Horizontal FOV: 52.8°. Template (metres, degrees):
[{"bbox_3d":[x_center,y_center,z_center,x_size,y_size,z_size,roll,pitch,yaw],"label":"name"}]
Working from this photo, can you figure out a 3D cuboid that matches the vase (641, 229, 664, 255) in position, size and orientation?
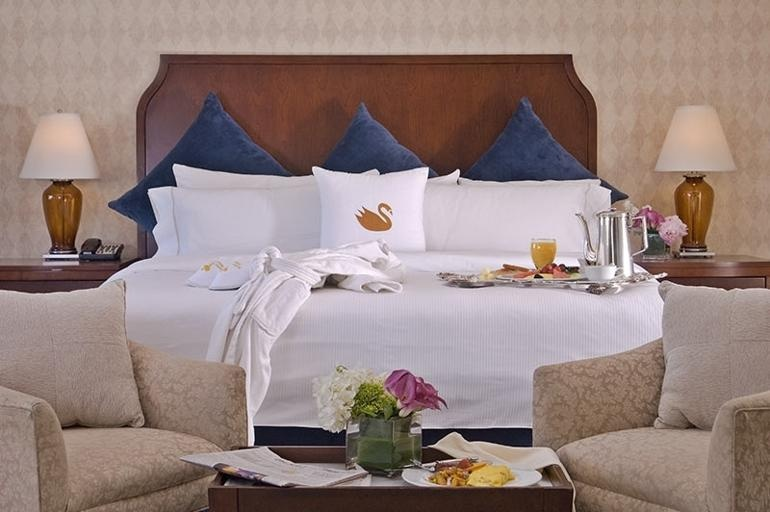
[{"bbox_3d":[1.804,-0.100,5.178,0.154,0.180,0.156,-4,7,-23],"label":"vase"}]

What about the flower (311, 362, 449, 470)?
[{"bbox_3d":[-0.044,0.489,2.529,0.327,0.277,0.344,0,2,24],"label":"flower"}]

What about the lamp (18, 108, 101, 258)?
[{"bbox_3d":[-2.184,-0.477,5.221,0.496,0.997,0.277,-1,-1,-27],"label":"lamp"}]

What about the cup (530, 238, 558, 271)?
[{"bbox_3d":[0.817,-0.006,4.010,0.143,0.181,0.153,0,3,0],"label":"cup"}]

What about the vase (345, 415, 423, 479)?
[{"bbox_3d":[-0.004,0.594,2.501,0.186,0.201,0.193,1,3,23],"label":"vase"}]

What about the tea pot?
[{"bbox_3d":[1.191,-0.061,4.128,0.383,0.417,0.221,-1,-8,5],"label":"tea pot"}]

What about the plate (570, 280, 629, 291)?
[{"bbox_3d":[1.008,0.135,3.623,0.264,0.033,0.170,-2,-3,7],"label":"plate"}]

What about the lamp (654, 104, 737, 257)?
[{"bbox_3d":[2.131,-0.518,5.315,0.506,0.853,0.312,-2,-1,12],"label":"lamp"}]
